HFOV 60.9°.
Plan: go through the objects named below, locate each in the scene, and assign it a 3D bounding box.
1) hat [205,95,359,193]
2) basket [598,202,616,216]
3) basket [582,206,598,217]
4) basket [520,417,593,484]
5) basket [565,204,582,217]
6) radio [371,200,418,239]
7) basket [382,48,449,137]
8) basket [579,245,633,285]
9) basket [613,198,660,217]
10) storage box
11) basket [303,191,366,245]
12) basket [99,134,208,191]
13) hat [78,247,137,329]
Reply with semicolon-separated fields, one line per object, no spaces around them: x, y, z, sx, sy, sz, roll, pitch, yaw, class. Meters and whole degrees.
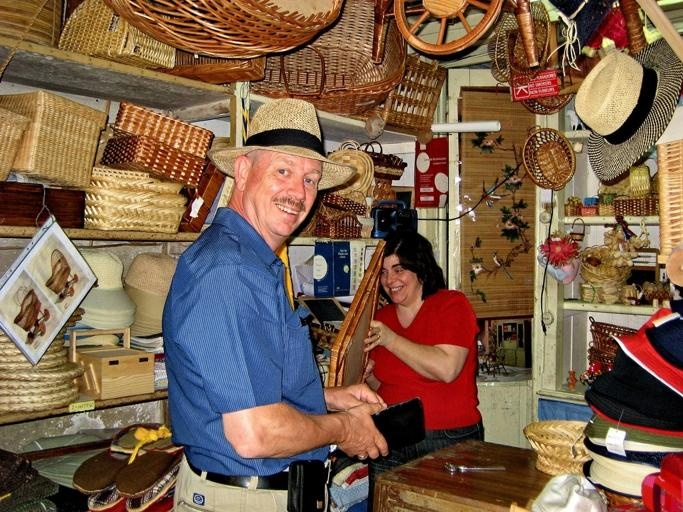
-0.209;-0.435;2.376;0.520;0.224;0.470;4;-18;3;hat
1.729;-0.309;3.847;0.086;0.054;0.079;1;0;-17;basket
1.653;-0.306;3.940;0.077;0.041;0.078;0;0;44;basket
0.826;0.760;2.275;0.270;0.099;0.243;-2;-3;-7;basket
1.571;-0.310;3.997;0.090;0.071;0.081;0;0;-4;basket
0.312;-0.215;3.316;0.288;0.202;0.138;2;15;18;radio
0.402;-1.005;3.780;0.440;0.494;0.536;16;-7;1;basket
1.684;0.070;3.788;0.277;0.123;0.303;4;0;27;basket
1.866;-0.305;3.714;0.249;0.081;0.169;-1;2;-14;basket
-1.033;0.464;2.566;0.335;0.281;0.356;-5;-7;42;storage box
-0.037;-0.212;3.321;0.288;0.118;0.334;4;-11;-4;basket
-0.807;-0.418;2.573;0.307;0.105;0.286;18;-2;-22;basket
-1.042;0.180;2.757;0.309;0.290;0.361;2;-7;0;hat
